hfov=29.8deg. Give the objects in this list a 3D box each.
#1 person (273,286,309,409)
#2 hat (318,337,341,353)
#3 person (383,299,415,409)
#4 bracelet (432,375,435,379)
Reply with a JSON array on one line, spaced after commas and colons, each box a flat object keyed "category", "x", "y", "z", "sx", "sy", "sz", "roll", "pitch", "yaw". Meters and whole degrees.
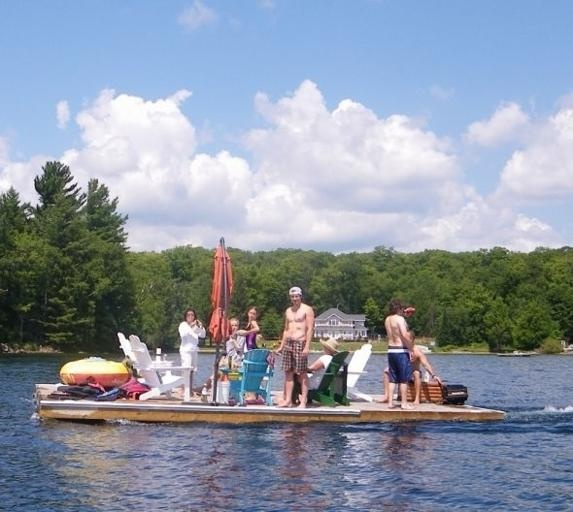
[{"category": "person", "x": 0.199, "y": 2.250, "z": 26.072, "sx": 0.861, "sy": 3.097, "sz": 1.106, "roll": 1, "pitch": 10, "yaw": 0}, {"category": "hat", "x": 1.077, "y": 2.172, "z": 27.015, "sx": 0.405, "sy": 0.143, "sz": 0.370, "roll": 46, "pitch": -3, "yaw": 21}, {"category": "person", "x": 2.749, "y": 2.404, "z": 26.512, "sx": 0.640, "sy": 2.609, "sz": 0.713, "roll": 2, "pitch": 10, "yaw": 6}, {"category": "bracelet", "x": 3.730, "y": 3.071, "z": 27.274, "sx": 0.080, "sy": 0.061, "sz": 0.078, "roll": -7, "pitch": -11, "yaw": 24}]
